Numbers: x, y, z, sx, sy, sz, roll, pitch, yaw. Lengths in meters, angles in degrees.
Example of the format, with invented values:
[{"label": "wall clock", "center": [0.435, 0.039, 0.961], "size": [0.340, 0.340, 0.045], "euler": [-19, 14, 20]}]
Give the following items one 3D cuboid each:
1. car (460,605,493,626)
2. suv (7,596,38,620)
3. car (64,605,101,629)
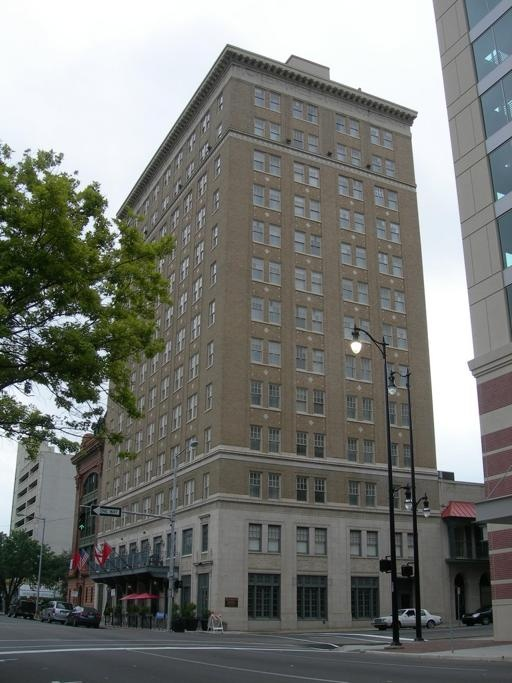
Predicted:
[{"label": "car", "center": [13.989, 17.292, 45.369], "size": [1.946, 1.062, 1.285], "euler": [10, -25, -25]}, {"label": "suv", "center": [-24.563, 28.121, 75.981], "size": [2.507, 2.017, 7.807], "euler": [6, -23, -17]}, {"label": "car", "center": [-12.443, 19.568, 51.231], "size": [1.382, 0.893, 2.912], "euler": [13, -25, -28]}]
